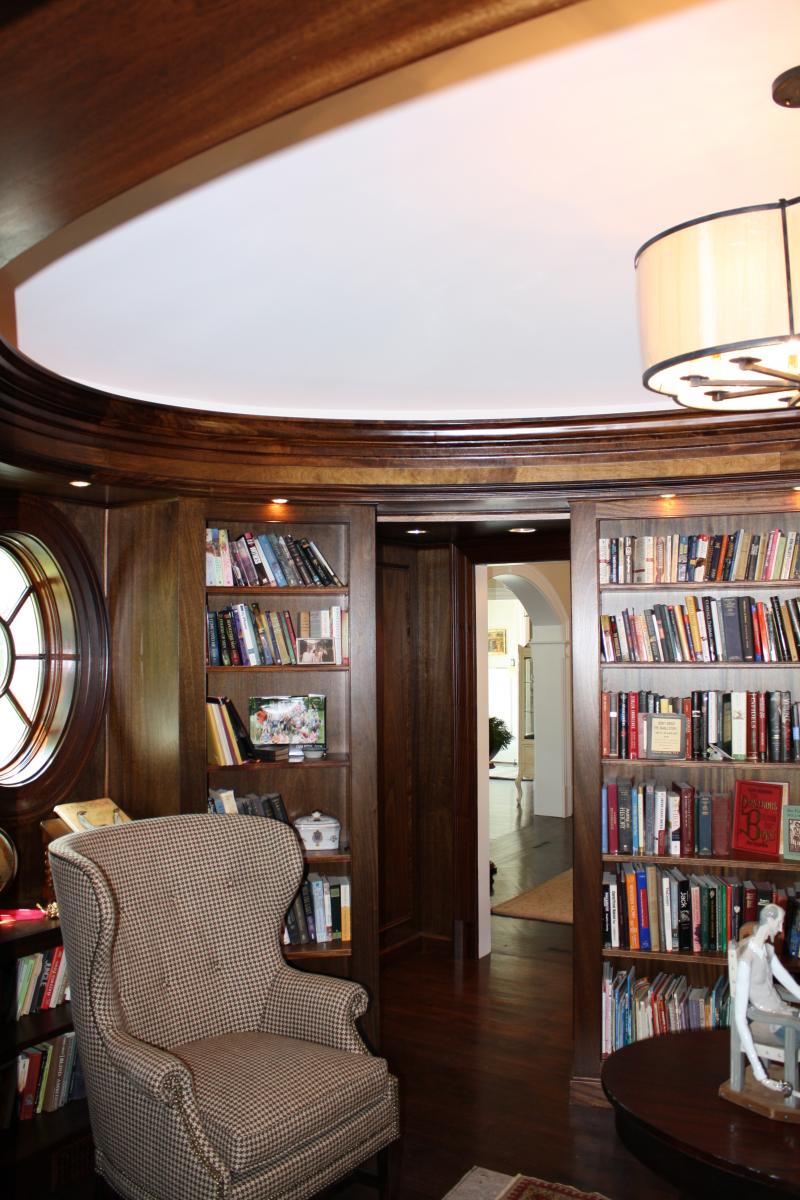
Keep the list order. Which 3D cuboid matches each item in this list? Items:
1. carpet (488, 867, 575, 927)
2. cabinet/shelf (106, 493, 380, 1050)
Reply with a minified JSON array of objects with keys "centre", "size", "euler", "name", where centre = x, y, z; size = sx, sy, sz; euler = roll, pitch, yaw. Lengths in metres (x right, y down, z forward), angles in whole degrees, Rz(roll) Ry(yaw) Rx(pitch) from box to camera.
[{"centre":[0.973,2.134,6.453],"size":[0.571,0.232,1.561],"euler":[0,-4,9],"name":"carpet"},{"centre":[-0.535,0.668,3.980],"size":[0.778,2.149,0.281],"euler":[-4,16,-16],"name":"cabinet/shelf"}]
